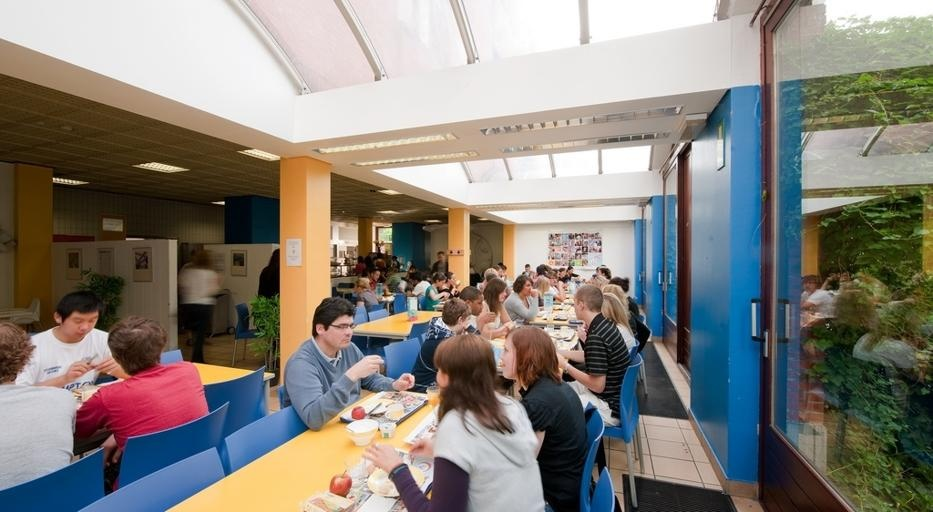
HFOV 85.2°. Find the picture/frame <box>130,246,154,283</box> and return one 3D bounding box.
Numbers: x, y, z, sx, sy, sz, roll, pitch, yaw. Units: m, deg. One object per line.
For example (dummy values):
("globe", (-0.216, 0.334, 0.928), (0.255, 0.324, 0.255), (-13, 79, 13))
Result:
("picture/frame", (-5.419, 0.129, 8.524), (0.446, 0.573, 0.024), (-3, 0, 18))

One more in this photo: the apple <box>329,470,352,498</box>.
("apple", (-0.990, 1.820, 4.087), (0.178, 0.190, 0.168), (7, -7, 11))

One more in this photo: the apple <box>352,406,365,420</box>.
("apple", (-0.977, 1.430, 4.611), (0.111, 0.088, 0.109), (-1, 4, -32))

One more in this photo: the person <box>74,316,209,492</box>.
("person", (-2.917, 1.134, 4.560), (1.043, 1.180, 0.272), (0, -2, -3))

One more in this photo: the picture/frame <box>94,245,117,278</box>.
("picture/frame", (-6.276, 0.074, 8.869), (0.437, 0.484, 0.047), (-1, -2, 24))

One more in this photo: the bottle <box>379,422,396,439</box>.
("bottle", (-0.693, 1.529, 4.486), (0.136, 0.074, 0.129), (-1, 5, 0))

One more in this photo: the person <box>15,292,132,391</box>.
("person", (-4.223, 0.921, 5.485), (0.841, 1.203, 1.053), (7, 6, 34))

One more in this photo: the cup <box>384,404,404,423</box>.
("cup", (-0.654, 1.441, 4.653), (0.134, 0.088, 0.130), (1, 4, 0))

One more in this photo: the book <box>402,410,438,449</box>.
("book", (-0.371, 1.566, 4.535), (0.233, 0.009, 0.641), (-22, -21, -26))

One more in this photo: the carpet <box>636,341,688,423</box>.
("carpet", (3.036, 1.832, 8.476), (0.596, 0.082, 3.860), (9, 10, 12))

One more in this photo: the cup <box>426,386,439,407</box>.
("cup", (-0.315, 1.356, 4.920), (0.148, 0.142, 0.143), (1, 4, 0))
